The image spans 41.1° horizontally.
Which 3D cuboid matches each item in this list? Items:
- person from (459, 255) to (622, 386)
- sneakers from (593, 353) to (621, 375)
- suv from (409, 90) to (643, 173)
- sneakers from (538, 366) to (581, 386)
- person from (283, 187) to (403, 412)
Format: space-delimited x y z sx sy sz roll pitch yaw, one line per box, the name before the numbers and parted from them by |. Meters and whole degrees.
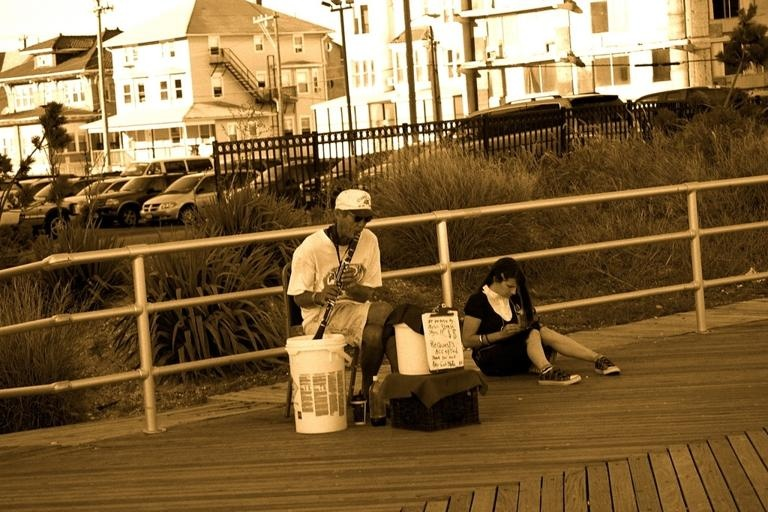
person | 1.398 0.616 10.089 1.257 1.218 0.614 2 12 24
sneakers | 2.171 1.062 9.995 0.114 0.151 0.331 -5 6 -20
suv | 3.403 -3.706 22.070 4.996 2.124 2.537 -4 2 -15
sneakers | 1.686 1.130 9.832 0.373 0.204 0.181 -1 5 9
person | -0.424 0.246 9.450 0.703 2.417 1.580 0 -1 -12
